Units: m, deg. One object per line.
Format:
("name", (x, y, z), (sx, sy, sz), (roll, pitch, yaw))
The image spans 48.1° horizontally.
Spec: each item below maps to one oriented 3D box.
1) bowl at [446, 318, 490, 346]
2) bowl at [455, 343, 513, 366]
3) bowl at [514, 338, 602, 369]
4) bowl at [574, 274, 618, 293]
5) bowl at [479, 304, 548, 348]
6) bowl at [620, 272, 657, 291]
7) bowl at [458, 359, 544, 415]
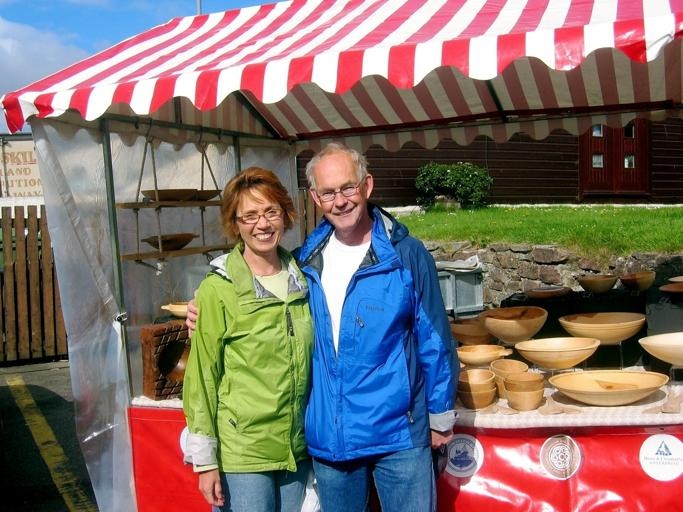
("bowl", (0.887, 0.535, 5.310), (0.240, 0.120, 0.256), (0, -6, 0))
("bowl", (0.948, 0.667, 5.156), (0.240, 0.082, 0.202), (4, 4, 36))
("bowl", (1.493, 0.656, 4.992), (0.313, 0.129, 0.348), (-7, -13, 14))
("bowl", (1.980, 0.216, 5.913), (0.276, 0.114, 0.389), (-1, 5, 36))
("bowl", (1.215, 0.523, 5.378), (0.451, 0.255, 0.451), (-6, 7, 1))
("bowl", (2.296, 0.198, 5.935), (0.224, 0.127, 0.354), (0, 5, 39))
("bowl", (0.999, 0.822, 4.871), (0.292, 0.188, 0.436), (-6, 7, -15))
